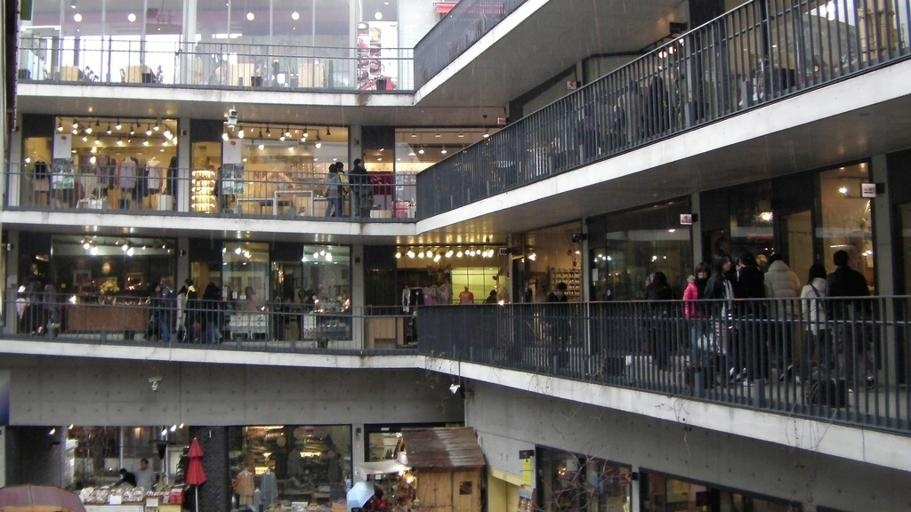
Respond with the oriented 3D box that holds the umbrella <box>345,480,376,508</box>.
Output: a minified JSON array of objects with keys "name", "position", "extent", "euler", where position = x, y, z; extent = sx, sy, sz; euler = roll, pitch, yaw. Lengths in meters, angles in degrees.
[{"name":"umbrella","position":[-3.030,7.583,32.926],"extent":[1.051,0.629,0.474],"euler":[-1,-1,45]}]

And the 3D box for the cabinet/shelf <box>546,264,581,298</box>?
[{"name":"cabinet/shelf","position":[3.578,0.797,33.950],"extent":[1.068,1.077,0.427],"euler":[0,1,1]}]

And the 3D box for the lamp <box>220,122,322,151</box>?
[{"name":"lamp","position":[-6.720,-4.432,38.219],"extent":[3.679,0.630,0.265],"euler":[-1,0,-8]}]

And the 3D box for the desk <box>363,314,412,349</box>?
[{"name":"desk","position":[-2.206,2.594,35.692],"extent":[0.868,1.127,1.623],"euler":[1,-1,-4]}]
